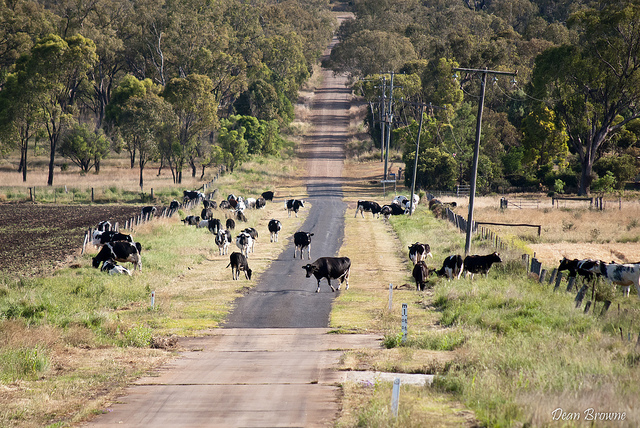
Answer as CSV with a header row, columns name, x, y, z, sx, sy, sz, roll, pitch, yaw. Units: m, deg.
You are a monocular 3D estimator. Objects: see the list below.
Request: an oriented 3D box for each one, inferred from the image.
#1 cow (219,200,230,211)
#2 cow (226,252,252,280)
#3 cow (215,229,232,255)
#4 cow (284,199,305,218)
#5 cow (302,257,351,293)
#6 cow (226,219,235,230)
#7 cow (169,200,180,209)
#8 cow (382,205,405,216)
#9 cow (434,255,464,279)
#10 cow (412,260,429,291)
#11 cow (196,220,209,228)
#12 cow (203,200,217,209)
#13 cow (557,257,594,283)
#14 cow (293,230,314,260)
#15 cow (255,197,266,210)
name,x,y,z,sx,sy,sz,roll,pitch,yaw
cow,-12.952,-1.219,136.336,1.040,1.832,3.118,-1,-2,-10
cow,-8.596,5.810,110.657,1.051,2.977,4.686,-1,-9,35
cow,-11.337,3.218,118.369,1.129,2.848,2.026,1,3,31
cow,-3.700,-0.871,138.688,2.089,2.387,4.452,-1,3,-5
cow,-0.414,6.065,108.589,7.535,5.236,2.268,3,-6,-26
cow,-11.130,1.215,125.182,0.681,1.275,1.958,0,3,24
cow,-19.520,-1.424,133.175,0.781,1.256,1.137,8,-5,14
cow,10.315,-0.646,140.030,2.970,1.894,1.116,4,0,-1
cow,14.152,5.573,108.240,2.434,2.484,0.944,0,3,9
cow,10.885,6.527,107.599,1.513,3.062,1.093,-3,3,-39
cow,-14.678,1.194,125.339,1.820,0.879,1.031,0,3,11
cow,-14.867,-1.388,135.620,1.429,1.263,3.280,0,3,17
cow,27.505,5.860,107.405,3.443,2.324,1.092,0,3,16
cow,-2.065,3.512,117.050,2.184,3.157,3.229,-1,3,-3
cow,-8.321,-1.462,140.766,0.912,1.505,1.413,0,-12,-5
